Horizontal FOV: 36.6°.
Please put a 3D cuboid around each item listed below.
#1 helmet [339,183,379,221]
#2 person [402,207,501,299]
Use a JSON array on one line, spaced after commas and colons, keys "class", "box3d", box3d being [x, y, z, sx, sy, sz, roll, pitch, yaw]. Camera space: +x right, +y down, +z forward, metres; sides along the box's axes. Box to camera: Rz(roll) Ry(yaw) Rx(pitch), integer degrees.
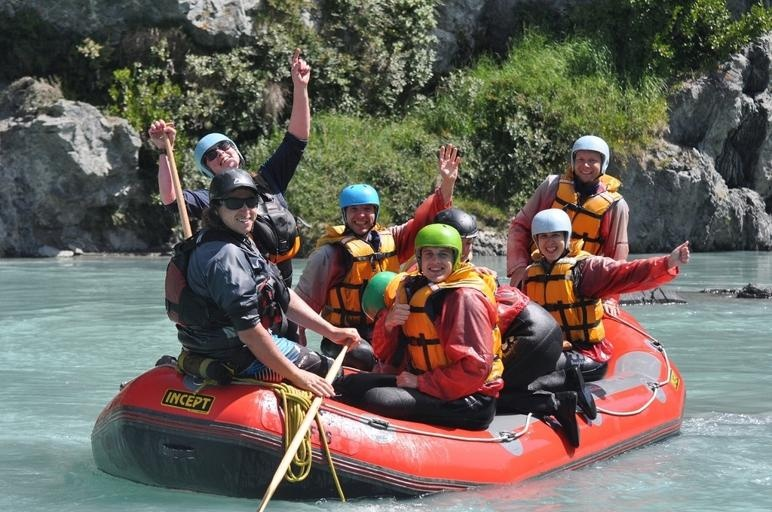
[{"class": "helmet", "box3d": [-0.450, -0.881, 18.072, 0.467, 0.449, 0.606, 1, -2, -4]}, {"class": "person", "box3d": [0.782, -0.234, 17.448, 0.827, 0.995, 0.996, 21, 5, -7]}]
